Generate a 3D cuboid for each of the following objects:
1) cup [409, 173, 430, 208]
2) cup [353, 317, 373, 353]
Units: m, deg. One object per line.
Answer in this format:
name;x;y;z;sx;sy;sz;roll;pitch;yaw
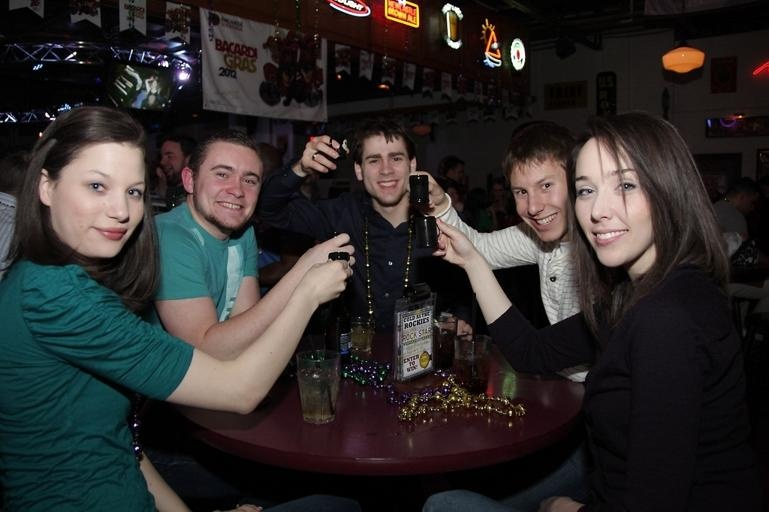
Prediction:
cup;0.175;-0.322;2.691;0.088;0.151;0.150;-1;0;9
cup;-0.098;0.375;2.567;0.140;0.162;0.147;1;9;0
